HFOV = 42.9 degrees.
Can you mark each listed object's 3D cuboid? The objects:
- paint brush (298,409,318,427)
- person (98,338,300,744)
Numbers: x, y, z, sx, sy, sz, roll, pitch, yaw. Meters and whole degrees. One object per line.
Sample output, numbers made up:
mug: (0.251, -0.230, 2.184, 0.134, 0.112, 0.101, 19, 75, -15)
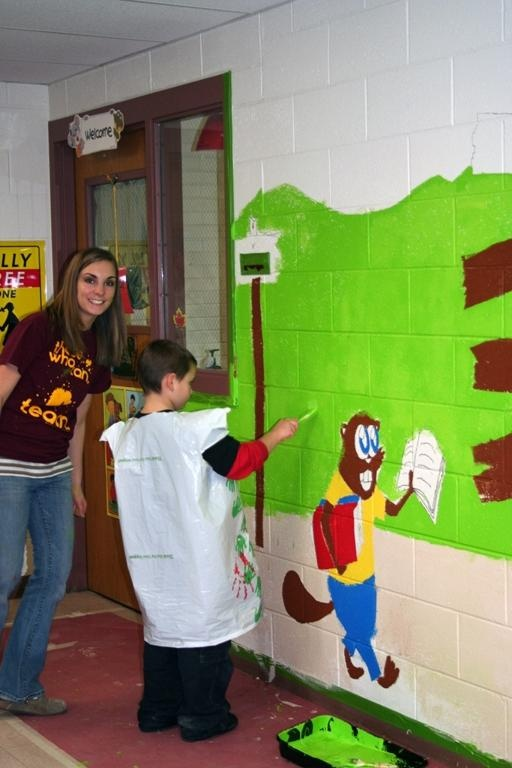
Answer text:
paint brush: (0.163, 0.103, 2.085, 0.015, 0.026, 0.109, -10, -27, -33)
person: (-0.169, 0.457, 1.847, 0.509, 1.166, 0.393, -2, -4, 16)
